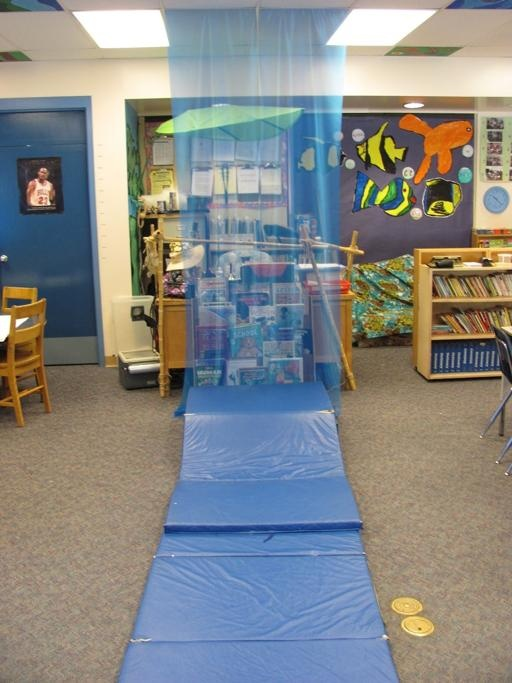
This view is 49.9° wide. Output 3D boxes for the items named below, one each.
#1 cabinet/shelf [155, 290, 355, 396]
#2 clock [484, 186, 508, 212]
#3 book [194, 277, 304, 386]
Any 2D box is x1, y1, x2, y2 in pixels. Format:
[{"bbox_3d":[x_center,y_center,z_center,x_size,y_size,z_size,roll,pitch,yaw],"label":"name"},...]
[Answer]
[{"bbox_3d":[-0.186,-0.118,5.254,1.744,1.134,1.010,-1,11,-1],"label":"cabinet/shelf"},{"bbox_3d":[3.158,-1.857,7.230,0.355,0.369,0.065,-4,12,-15],"label":"clock"},{"bbox_3d":[-0.056,-0.108,3.996,0.826,0.714,0.260,-1,6,-2],"label":"book"}]
